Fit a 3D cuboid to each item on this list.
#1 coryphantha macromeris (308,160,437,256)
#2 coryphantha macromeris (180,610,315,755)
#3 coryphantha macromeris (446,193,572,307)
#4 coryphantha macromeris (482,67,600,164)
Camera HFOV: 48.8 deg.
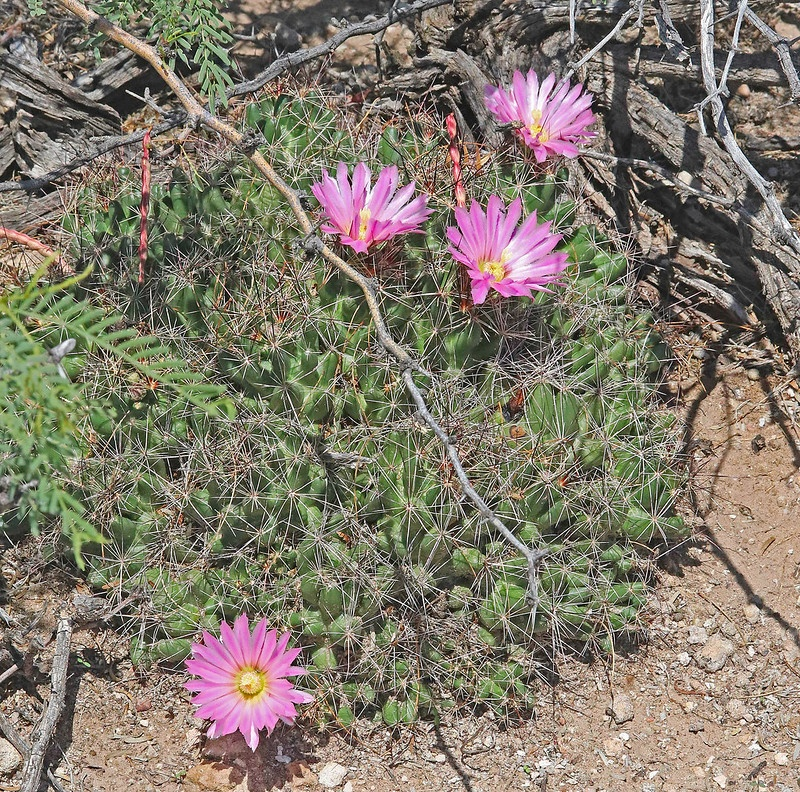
[{"bbox_3d":[-0.071,-0.534,2.439,0.296,0.185,0.300,14,57,9],"label":"coryphantha macromeris"},{"bbox_3d":[-0.411,0.749,2.334,0.305,0.206,0.288,-34,62,-21],"label":"coryphantha macromeris"},{"bbox_3d":[0.310,-0.395,2.427,0.336,0.194,0.294,-23,59,-15],"label":"coryphantha macromeris"},{"bbox_3d":[0.447,-0.893,2.782,0.332,0.348,0.150,14,89,-11],"label":"coryphantha macromeris"}]
